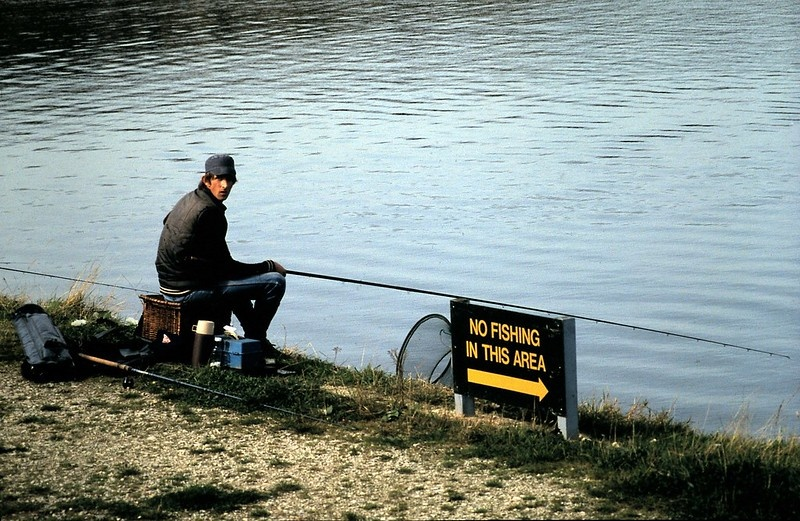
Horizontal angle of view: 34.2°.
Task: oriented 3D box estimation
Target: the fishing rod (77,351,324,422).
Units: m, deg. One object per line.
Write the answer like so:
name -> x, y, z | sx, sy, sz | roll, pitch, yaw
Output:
fishing rod -> -2.995, 1.844, 18.839 | 4.450, 0.120, 0.170 | 10, 20, 13

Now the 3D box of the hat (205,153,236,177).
hat -> -2.710, -1.450, 19.606 | 0.424, 0.341, 0.244 | 5, 3, -7

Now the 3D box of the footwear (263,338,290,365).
footwear -> -1.942, 1.397, 19.947 | 0.340, 0.092, 0.422 | 21, 10, -7

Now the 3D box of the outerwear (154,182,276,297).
outerwear -> -2.887, -0.323, 19.581 | 1.448, 1.740, 0.392 | 6, 4, -8

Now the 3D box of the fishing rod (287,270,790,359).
fishing rod -> 1.919, 0.771, 20.148 | 8.137, 0.068, 0.250 | 9, 20, 13
